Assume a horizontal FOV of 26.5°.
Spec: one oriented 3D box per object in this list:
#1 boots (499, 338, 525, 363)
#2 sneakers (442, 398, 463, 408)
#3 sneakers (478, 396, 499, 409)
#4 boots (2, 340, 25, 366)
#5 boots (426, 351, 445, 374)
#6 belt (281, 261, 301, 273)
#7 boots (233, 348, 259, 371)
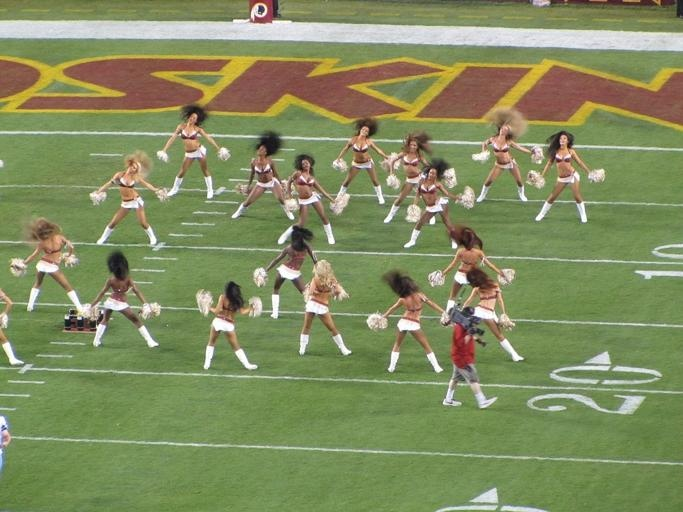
[{"bbox_3d":[3.024,1.668,26.329,0.646,0.178,0.241,38,0,-11],"label":"boots"},{"bbox_3d":[1.917,2.523,24.962,0.332,0.096,0.131,-2,18,-4],"label":"sneakers"},{"bbox_3d":[2.501,2.515,24.840,0.424,0.160,0.129,-19,11,20],"label":"sneakers"},{"bbox_3d":[-5.931,1.726,26.204,0.386,0.462,0.432,1,8,-12],"label":"boots"},{"bbox_3d":[1.667,1.908,25.990,0.251,0.401,0.134,-35,-39,15],"label":"boots"},{"bbox_3d":[-0.997,0.220,27.493,0.374,0.128,0.129,4,8,13],"label":"belt"},{"bbox_3d":[-1.705,1.830,26.179,0.412,0.429,0.656,3,8,-3],"label":"boots"}]
